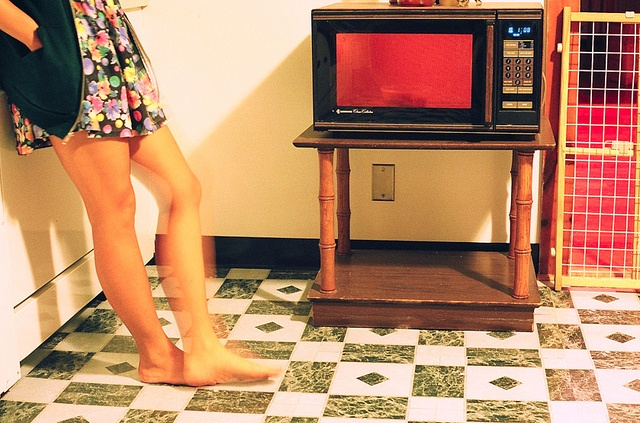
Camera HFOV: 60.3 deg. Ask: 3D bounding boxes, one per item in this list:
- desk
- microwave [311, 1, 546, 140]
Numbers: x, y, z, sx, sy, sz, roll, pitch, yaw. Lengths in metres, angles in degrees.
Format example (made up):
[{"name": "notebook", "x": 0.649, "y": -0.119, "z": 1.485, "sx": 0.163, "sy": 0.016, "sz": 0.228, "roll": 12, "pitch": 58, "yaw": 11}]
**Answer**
[{"name": "desk", "x": 0.482, "y": 0.053, "z": 2.557, "sx": 1.087, "sy": 0.759, "sz": 0.620, "roll": 0, "pitch": 15, "yaw": 11}, {"name": "microwave", "x": 0.472, "y": -0.481, "z": 2.515, "sx": 0.907, "sy": 0.469, "sz": 0.568, "roll": 1, "pitch": 18, "yaw": 7}]
